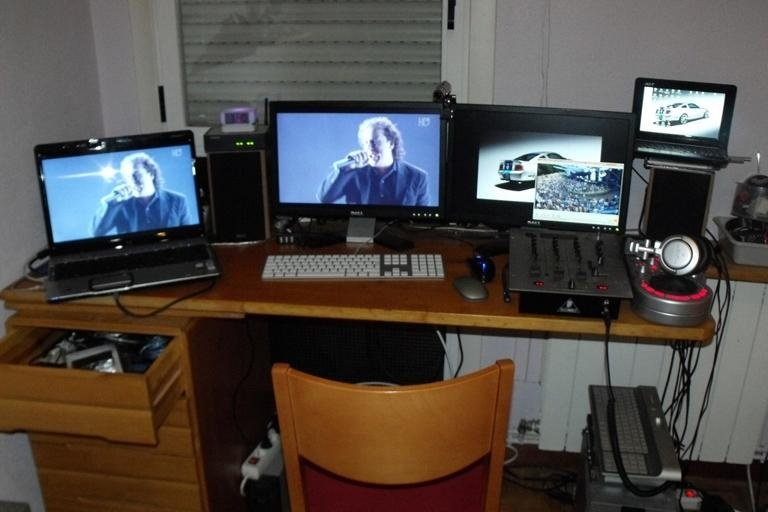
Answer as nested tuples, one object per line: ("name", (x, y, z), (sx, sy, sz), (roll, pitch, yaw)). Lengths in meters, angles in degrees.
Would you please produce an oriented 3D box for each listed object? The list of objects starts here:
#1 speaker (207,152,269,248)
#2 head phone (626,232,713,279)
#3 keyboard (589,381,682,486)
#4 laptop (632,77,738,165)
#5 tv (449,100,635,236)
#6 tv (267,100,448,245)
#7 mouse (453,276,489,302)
("speaker", (-0.654, -0.261, 2.666), (0.268, 0.391, 0.282), (2, 8, 42))
("head phone", (1.004, -0.020, 2.272), (0.155, 0.131, 0.320), (-11, 17, -38))
("keyboard", (0.963, 0.696, 2.474), (0.301, 0.120, 0.447), (-2, 35, 9))
("laptop", (1.178, -0.562, 2.609), (0.396, 0.272, 0.236), (4, 3, -7))
("tv", (0.597, -0.346, 2.468), (0.694, 0.469, 0.169), (5, 14, 21))
("tv", (-0.095, -0.334, 2.609), (0.728, 0.552, 0.188), (3, 13, 12))
("mouse", (0.321, 0.117, 2.285), (0.122, 0.067, 0.116), (-1, 14, -5))
